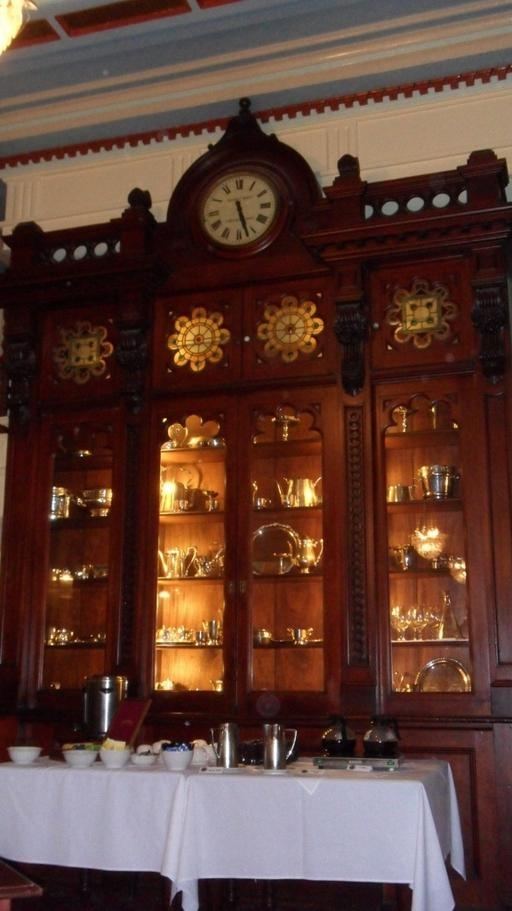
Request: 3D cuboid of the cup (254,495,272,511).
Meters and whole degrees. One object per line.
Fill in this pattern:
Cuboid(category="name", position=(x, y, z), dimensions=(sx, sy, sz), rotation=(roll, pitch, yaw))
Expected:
Cuboid(category="cup", position=(0.032, 0.216, 3.442), dimensions=(0.072, 0.053, 0.047), rotation=(1, -8, 8))

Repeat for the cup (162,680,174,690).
Cuboid(category="cup", position=(-0.383, 1.024, 3.411), dimensions=(0.032, 0.051, 0.049), rotation=(-26, -41, 38))

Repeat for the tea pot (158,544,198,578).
Cuboid(category="tea pot", position=(-0.350, 0.482, 3.514), dimensions=(0.156, 0.124, 0.130), rotation=(-3, -11, 14))

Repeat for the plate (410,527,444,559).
Cuboid(category="plate", position=(0.719, 0.368, 3.203), dimensions=(0.116, 0.105, 0.128), rotation=(3, 0, -30))

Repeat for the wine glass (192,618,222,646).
Cuboid(category="wine glass", position=(-0.205, 0.795, 3.440), dimensions=(0.130, 0.135, 0.089), rotation=(0, -22, 25))

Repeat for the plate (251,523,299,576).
Cuboid(category="plate", position=(0.090, 0.423, 3.384), dimensions=(0.210, 0.226, 0.031), rotation=(-2, -22, 33))

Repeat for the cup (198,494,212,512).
Cuboid(category="cup", position=(-0.229, 0.220, 3.540), dimensions=(0.070, 0.122, 0.071), rotation=(0, -16, 0))

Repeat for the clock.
Cuboid(category="clock", position=(-0.041, -1.166, 3.714), dimensions=(0.408, 0.445, 0.047), rotation=(-6, -15, 13))

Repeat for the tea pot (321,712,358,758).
Cuboid(category="tea pot", position=(0.243, 0.875, 2.385), dimensions=(0.109, 0.161, 0.123), rotation=(2, -19, -6))

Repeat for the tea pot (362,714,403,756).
Cuboid(category="tea pot", position=(0.377, 0.854, 2.368), dimensions=(0.119, 0.135, 0.134), rotation=(-11, -23, 34))

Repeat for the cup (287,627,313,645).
Cuboid(category="cup", position=(0.190, 0.765, 3.259), dimensions=(0.108, 0.079, 0.065), rotation=(0, -2, 17))

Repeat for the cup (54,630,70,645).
Cuboid(category="cup", position=(-0.908, 0.860, 3.619), dimensions=(0.055, 0.059, 0.033), rotation=(0, -10, 9))

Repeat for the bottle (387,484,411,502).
Cuboid(category="bottle", position=(0.606, 0.165, 3.277), dimensions=(0.076, 0.062, 0.081), rotation=(0, -4, 0))

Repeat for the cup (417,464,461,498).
Cuboid(category="cup", position=(0.764, 0.111, 3.230), dimensions=(0.135, 0.108, 0.134), rotation=(3, -23, 1))

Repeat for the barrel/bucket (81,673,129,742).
Cuboid(category="barrel/bucket", position=(-0.549, 0.905, 2.763), dimensions=(0.130, 0.214, 0.119), rotation=(0, -14, 0))

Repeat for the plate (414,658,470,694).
Cuboid(category="plate", position=(0.731, 0.867, 3.028), dimensions=(0.223, 0.128, 0.084), rotation=(-4, -15, 15))

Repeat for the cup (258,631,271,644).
Cuboid(category="cup", position=(0.037, 0.777, 3.304), dimensions=(0.052, 0.052, 0.053), rotation=(-3, -9, 0))

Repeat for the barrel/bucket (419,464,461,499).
Cuboid(category="barrel/bucket", position=(0.767, 0.109, 3.281), dimensions=(0.138, 0.111, 0.137), rotation=(3, -23, 1))

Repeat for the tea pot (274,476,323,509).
Cuboid(category="tea pot", position=(0.187, 0.167, 3.410), dimensions=(0.164, 0.119, 0.122), rotation=(-1, -7, 16))

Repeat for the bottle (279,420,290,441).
Cuboid(category="bottle", position=(0.131, -0.110, 3.456), dimensions=(0.066, 0.089, 0.070), rotation=(-2, -3, 0))

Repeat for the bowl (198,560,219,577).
Cuboid(category="bowl", position=(-0.210, 0.513, 3.462), dimensions=(0.104, 0.073, 0.013), rotation=(-5, -15, 17))

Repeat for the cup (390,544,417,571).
Cuboid(category="cup", position=(0.614, 0.428, 3.217), dimensions=(0.096, 0.117, 0.101), rotation=(1, -13, 0))
